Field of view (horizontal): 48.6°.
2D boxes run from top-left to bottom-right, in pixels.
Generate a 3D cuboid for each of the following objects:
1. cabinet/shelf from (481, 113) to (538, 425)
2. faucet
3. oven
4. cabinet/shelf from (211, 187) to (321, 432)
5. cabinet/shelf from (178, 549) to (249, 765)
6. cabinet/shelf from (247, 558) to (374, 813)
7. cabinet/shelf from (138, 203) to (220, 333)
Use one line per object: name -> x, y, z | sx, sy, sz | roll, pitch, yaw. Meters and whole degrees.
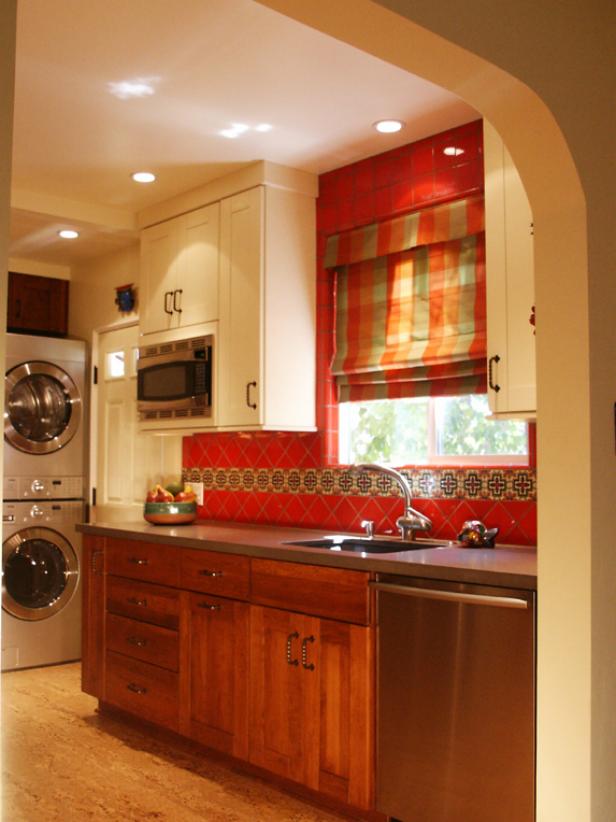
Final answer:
cabinet/shelf -> 0.655, -0.473, 2.271 | 0.106, 1.005, 0.326 | 1, -7, -15
faucet -> 0.376, 0.364, 2.734 | 0.315, 0.378, 0.264 | 7, -11, -36
oven -> -0.653, -0.156, 3.655 | 0.553, 0.422, 0.256 | -3, -3, 37
cabinet/shelf -> -0.200, -0.480, 3.264 | 0.484, 1.152, 0.312 | 0, -7, -7
cabinet/shelf -> -0.298, 1.027, 2.840 | 0.325, 0.634, 0.311 | -4, -5, 38
cabinet/shelf -> 0.140, 0.933, 2.527 | 0.576, 0.770, 0.516 | -3, -6, 35
cabinet/shelf -> -0.634, -0.701, 3.697 | 0.620, 0.561, 0.237 | 6, 6, 34
